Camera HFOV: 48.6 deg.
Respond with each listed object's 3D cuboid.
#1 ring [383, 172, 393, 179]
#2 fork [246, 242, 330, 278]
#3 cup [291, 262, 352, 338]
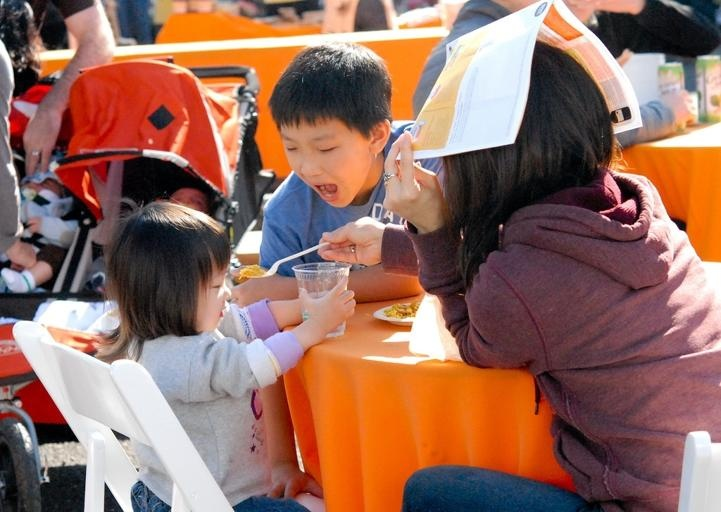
[{"bbox_3d":[0.075,-0.225,2.266,0.019,0.025,0.010,1,50,8],"label":"ring"},{"bbox_3d":[-0.242,0.015,2.750,0.249,0.057,0.043,-28,-29,33],"label":"fork"},{"bbox_3d":[-0.136,0.144,2.494,0.154,0.196,0.163,14,1,0],"label":"cup"}]
